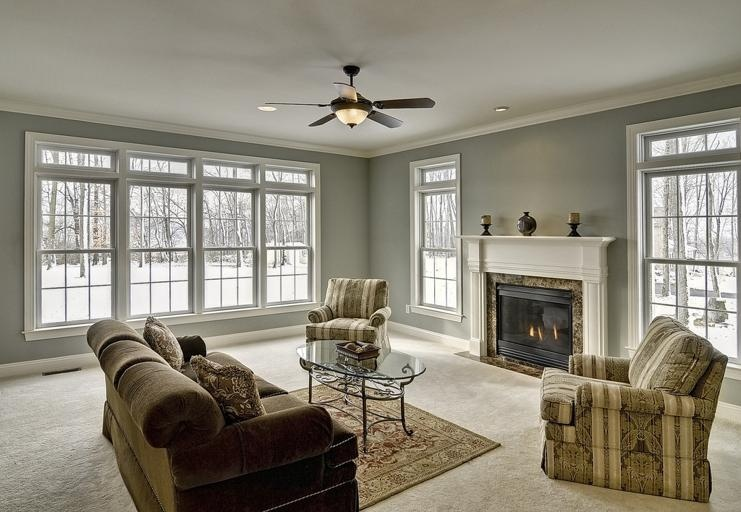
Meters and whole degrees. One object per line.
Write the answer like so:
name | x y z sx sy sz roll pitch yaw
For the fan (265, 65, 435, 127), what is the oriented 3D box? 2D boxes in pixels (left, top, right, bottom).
fan | -0.217 -1.595 5.367 1.165 0.608 1.724 -1 1 -17

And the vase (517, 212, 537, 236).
vase | 2.062 -0.431 6.592 0.237 0.317 0.230 0 2 34

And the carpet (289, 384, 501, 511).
carpet | 0.357 1.777 4.580 0.957 0.011 1.393 -4 7 -42

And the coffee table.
coffee table | -0.093 1.587 5.098 0.849 0.726 1.484 1 0 -39

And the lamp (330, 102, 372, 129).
lamp | -0.178 -1.367 4.927 0.366 0.169 0.286 -1 1 -1

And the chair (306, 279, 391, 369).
chair | -0.287 0.830 6.814 1.148 0.956 1.083 2 3 34

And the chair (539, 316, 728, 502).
chair | 2.381 1.273 4.761 1.544 1.301 1.504 0 1 11

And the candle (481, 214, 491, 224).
candle | 1.613 -0.511 6.965 0.127 0.118 0.121 1 -3 9

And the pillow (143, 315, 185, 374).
pillow | -1.987 0.845 4.825 0.299 0.535 0.626 -12 8 -21

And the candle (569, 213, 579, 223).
candle | 2.469 -0.455 6.055 0.112 0.123 0.111 0 -2 -4
